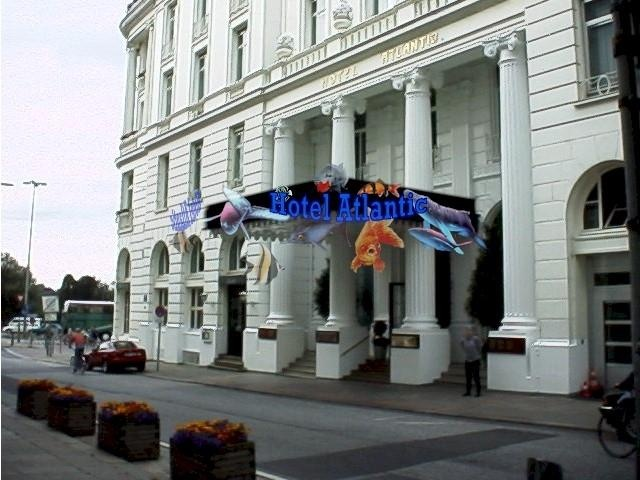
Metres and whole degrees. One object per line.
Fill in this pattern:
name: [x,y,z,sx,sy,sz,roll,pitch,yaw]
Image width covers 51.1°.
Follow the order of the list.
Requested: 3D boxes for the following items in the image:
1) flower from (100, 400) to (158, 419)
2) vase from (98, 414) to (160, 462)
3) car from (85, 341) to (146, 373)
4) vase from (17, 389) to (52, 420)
flower: [-3.779,3.271,13.022,0.661,0.224,0.538,-1,-10,11]
vase: [-3.762,3.797,12.942,1.219,0.841,0.550,-2,-5,9]
car: [-10.061,5.513,32.470,1.385,1.093,3.057,6,-8,-37]
vase: [-6.951,3.945,16.263,1.399,0.676,0.309,-6,-7,42]
